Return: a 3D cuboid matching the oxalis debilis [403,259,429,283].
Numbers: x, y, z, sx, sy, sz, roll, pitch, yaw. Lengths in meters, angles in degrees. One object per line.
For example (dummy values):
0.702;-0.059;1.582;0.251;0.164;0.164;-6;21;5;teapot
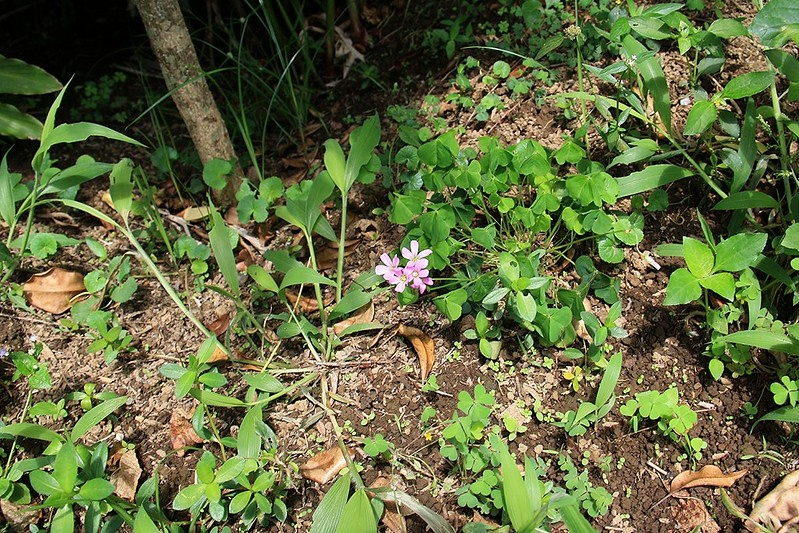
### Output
0.073;0.031;2.717;0.112;0.078;0.083;-13;46;-4;oxalis debilis
